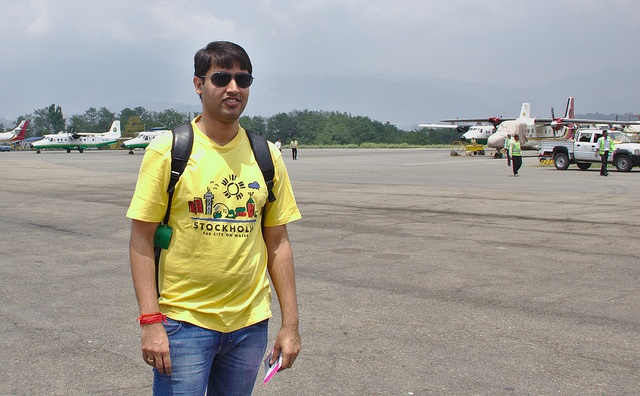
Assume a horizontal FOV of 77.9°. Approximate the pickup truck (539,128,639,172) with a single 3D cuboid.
[{"bbox_3d":[18.418,-3.376,27.118,2.817,1.905,4.879,0,-1,-43],"label":"pickup truck"}]
